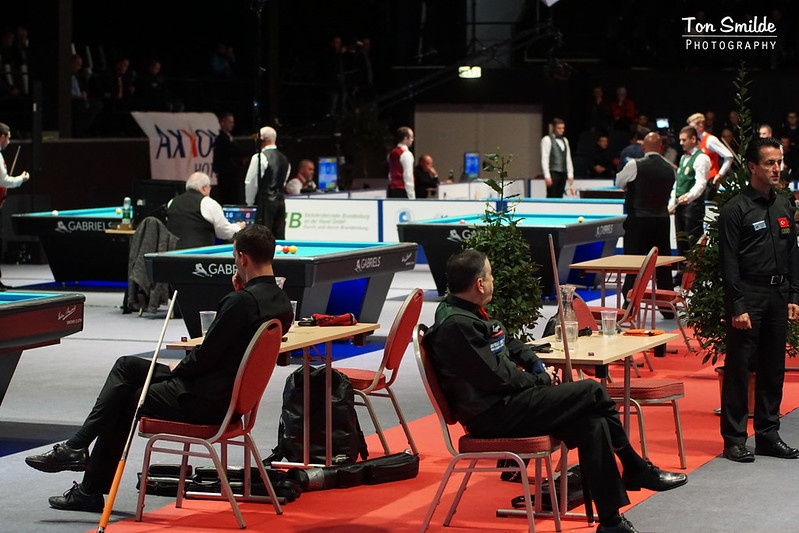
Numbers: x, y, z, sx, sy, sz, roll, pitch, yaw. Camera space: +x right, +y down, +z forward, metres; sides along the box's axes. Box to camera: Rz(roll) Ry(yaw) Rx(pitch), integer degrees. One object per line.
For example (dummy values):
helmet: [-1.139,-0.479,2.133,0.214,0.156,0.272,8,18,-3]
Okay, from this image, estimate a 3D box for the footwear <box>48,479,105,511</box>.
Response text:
footwear: [-1.998,1.452,5.809,0.405,0.169,0.148,4,-2,11]

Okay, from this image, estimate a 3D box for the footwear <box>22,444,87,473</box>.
footwear: [-2.165,1.207,5.802,0.458,0.206,0.163,3,-8,-3]

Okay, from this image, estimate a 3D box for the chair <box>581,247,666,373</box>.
chair: [2.084,0.427,8.970,0.811,1.241,0.672,2,5,22]

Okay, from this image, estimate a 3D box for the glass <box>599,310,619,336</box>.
glass: [1.413,0.393,6.386,0.161,0.188,0.152,0,-2,2]

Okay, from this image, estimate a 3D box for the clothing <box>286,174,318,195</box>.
clothing: [-1.924,-1.526,17.684,0.497,0.215,0.481,2,5,18]

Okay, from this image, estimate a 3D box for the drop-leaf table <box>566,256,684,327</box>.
drop-leaf table: [2.297,0.210,9.653,1.048,0.515,0.587,-18,-1,34]

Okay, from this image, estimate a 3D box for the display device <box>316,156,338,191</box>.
display device: [-1.441,-1.838,18.316,0.391,0.635,0.525,-1,8,-7]

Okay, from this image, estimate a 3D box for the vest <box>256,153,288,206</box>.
vest: [-1.813,-1.253,12.967,0.562,0.765,0.423,-4,6,-42]

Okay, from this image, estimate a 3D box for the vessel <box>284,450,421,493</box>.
vessel: [-0.286,1.393,6.347,0.990,0.289,0.223,-2,14,-24]

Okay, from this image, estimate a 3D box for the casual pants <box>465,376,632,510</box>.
casual pants: [0.834,0.924,5.244,0.778,0.422,0.745,5,-1,13]

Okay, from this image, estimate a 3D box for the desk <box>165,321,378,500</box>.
desk: [-0.796,1.181,6.378,0.971,1.260,1.861,0,1,27]

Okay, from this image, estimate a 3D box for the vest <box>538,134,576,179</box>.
vest: [3.046,-2.096,17.677,0.571,0.839,0.478,-1,8,-3]

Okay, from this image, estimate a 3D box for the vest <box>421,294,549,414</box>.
vest: [0.499,0.512,5.457,0.589,0.710,0.635,-12,3,38]

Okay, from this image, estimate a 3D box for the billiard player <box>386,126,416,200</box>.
billiard player: [0.019,-1.886,16.870,0.474,1.274,1.215,0,8,0]

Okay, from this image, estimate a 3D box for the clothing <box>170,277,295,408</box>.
clothing: [-1.017,0.467,5.597,0.733,0.775,0.391,-2,9,-13]

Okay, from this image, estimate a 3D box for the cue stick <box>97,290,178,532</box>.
cue stick: [-1.937,1.058,6.751,0.052,1.490,0.103,2,-21,34]

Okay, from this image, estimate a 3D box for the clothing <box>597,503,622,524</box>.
clothing: [1.165,1.375,5.147,0.106,0.127,0.133,0,-5,1]

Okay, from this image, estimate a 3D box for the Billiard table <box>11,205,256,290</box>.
Billiard table: [-5.097,-0.183,15.241,1.978,0.947,2.688,-1,-4,-11]

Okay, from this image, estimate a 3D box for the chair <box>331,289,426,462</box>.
chair: [-0.275,0.780,6.603,0.938,1.251,0.816,1,-3,-3]

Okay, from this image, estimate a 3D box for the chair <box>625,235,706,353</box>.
chair: [2.894,0.290,10.091,0.723,1.095,0.626,5,2,25]

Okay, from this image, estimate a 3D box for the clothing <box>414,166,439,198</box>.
clothing: [0.453,-1.747,18.823,0.231,0.830,0.261,12,16,-37]

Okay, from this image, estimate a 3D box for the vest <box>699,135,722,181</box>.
vest: [4.856,-1.530,14.167,0.270,0.472,0.383,-11,-14,43]

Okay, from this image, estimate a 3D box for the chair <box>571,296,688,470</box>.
chair: [1.707,0.786,6.698,0.759,1.148,0.666,-1,7,8]
